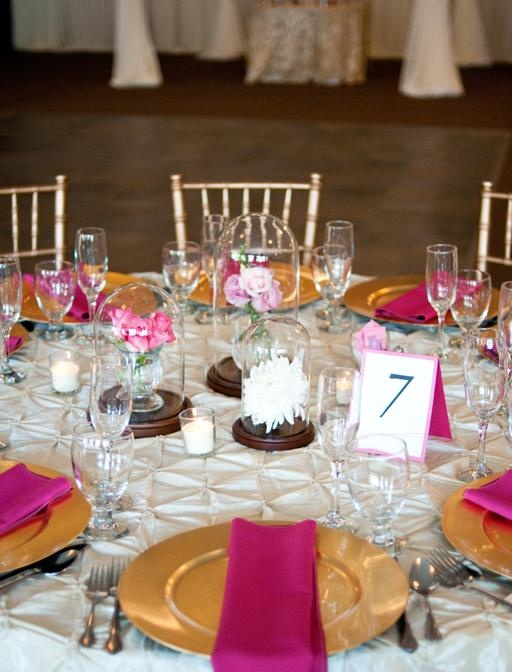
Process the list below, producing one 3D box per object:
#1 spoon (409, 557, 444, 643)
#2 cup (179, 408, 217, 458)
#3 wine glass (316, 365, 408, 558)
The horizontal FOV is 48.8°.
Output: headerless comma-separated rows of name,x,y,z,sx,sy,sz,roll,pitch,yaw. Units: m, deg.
spoon,0.177,0.276,0.580,0.026,0.015,0.120,3,17,9
cup,-0.096,0.159,0.934,0.076,0.081,0.074,-1,19,0
wine glass,0.137,0.164,0.732,0.079,0.154,0.190,-7,14,-20
